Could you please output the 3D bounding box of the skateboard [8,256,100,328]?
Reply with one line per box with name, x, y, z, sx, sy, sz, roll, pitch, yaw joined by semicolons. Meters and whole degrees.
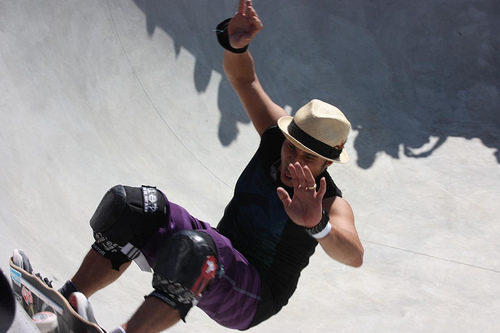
skateboard;-1.693;1.102;4.905;0.923;0.386;0.292;21;33;12
